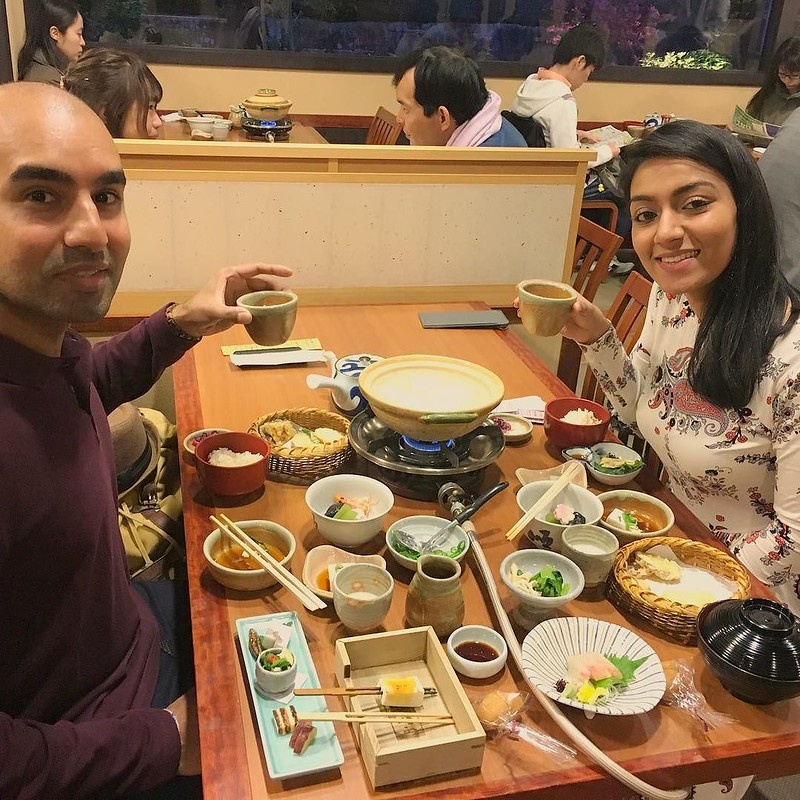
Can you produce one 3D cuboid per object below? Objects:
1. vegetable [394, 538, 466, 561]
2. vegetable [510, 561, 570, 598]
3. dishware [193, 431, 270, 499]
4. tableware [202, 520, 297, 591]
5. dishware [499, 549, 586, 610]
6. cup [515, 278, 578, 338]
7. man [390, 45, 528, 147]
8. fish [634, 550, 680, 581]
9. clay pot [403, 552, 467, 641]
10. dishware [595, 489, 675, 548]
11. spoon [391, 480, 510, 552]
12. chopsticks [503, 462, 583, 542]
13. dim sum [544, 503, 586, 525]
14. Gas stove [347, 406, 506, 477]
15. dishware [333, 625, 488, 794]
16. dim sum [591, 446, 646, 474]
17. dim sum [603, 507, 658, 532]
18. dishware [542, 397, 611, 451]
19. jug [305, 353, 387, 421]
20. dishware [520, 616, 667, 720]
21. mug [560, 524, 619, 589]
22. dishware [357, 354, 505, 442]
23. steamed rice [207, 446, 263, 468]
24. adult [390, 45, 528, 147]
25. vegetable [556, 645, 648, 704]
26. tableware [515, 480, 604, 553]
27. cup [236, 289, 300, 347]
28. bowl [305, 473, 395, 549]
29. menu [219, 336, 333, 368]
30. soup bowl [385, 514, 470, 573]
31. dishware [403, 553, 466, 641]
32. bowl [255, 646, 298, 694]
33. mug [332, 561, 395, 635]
[{"bbox_3d":[0.052,0.308,1.300,0.113,0.019,0.061,4,13,-11],"label":"vegetable"},{"bbox_3d":[0.264,0.340,1.181,0.067,0.025,0.063,9,17,5],"label":"vegetable"},{"bbox_3d":[-0.387,0.153,1.498,0.169,0.094,0.155,17,18,21],"label":"dishware"},{"bbox_3d":[-0.306,0.313,1.252,0.154,0.054,0.141,-12,37,-27],"label":"tableware"},{"bbox_3d":[0.272,0.349,1.188,0.143,0.057,0.140,-7,27,-18],"label":"dishware"},{"bbox_3d":[0.381,-0.250,1.707,0.173,0.115,0.158,3,37,-2],"label":"cup"},{"bbox_3d":[0.251,-1.565,3.265,0.839,0.396,0.574,2,40,-8],"label":"man"},{"bbox_3d":[0.524,0.344,1.286,0.075,0.023,0.055,22,42,10],"label":"fish"},{"bbox_3d":[0.064,0.353,1.166,0.121,0.136,0.147,0,26,-5],"label":"clay pot"},{"bbox_3d":[0.528,0.267,1.420,0.136,0.050,0.127,-1,26,-5],"label":"dishware"},{"bbox_3d":[0.140,0.267,1.394,0.334,0.061,0.097,-26,28,-32],"label":"spoon"},{"bbox_3d":[0.331,0.239,1.434,0.248,0.037,0.021,-38,-3,-28],"label":"chopsticks"},{"bbox_3d":[0.367,0.253,1.386,0.051,0.019,0.049,4,15,6],"label":"dim sum"},{"bbox_3d":[0.064,0.099,1.627,0.413,0.058,0.396,-6,21,-35],"label":"Gas stove"},{"bbox_3d":[0.010,0.460,0.958,0.174,0.090,0.226,-7,24,-17],"label":"dishware"},{"bbox_3d":[0.542,0.156,1.607,0.093,0.027,0.087,0,24,-2],"label":"dim sum"},{"bbox_3d":[0.519,0.255,1.397,0.073,0.017,0.068,2,14,0],"label":"dim sum"},{"bbox_3d":[0.502,0.079,1.751,0.155,0.087,0.148,-22,31,-31],"label":"dishware"},{"bbox_3d":[-0.158,-0.049,1.922,0.157,0.107,0.274,18,21,22],"label":"jug"},{"bbox_3d":[0.316,0.415,1.022,0.167,0.058,0.162,-8,25,-34],"label":"dishware"},{"bbox_3d":[0.385,0.328,1.262,0.106,0.075,0.096,15,6,0],"label":"mug"},{"bbox_3d":[0.076,-0.001,1.597,0.362,0.115,0.342,-8,30,-22],"label":"dishware"},{"bbox_3d":[-0.402,0.138,1.499,0.079,0.014,0.059,5,10,7],"label":"steamed rice"},{"bbox_3d":[0.211,-1.496,3.317,0.839,0.396,0.574,2,40,-8],"label":"adult"},{"bbox_3d":[0.323,0.440,1.001,0.093,0.025,0.068,-7,2,0],"label":"vegetable"},{"bbox_3d":[0.356,0.271,1.432,0.159,0.083,0.148,-9,34,-20],"label":"tableware"},{"bbox_3d":[-0.340,-0.196,1.595,0.141,0.092,0.134,-2,14,0],"label":"cup"},{"bbox_3d":[-0.095,0.224,1.374,0.169,0.159,0.081,7,-7,20],"label":"bowl"},{"bbox_3d":[-0.425,-0.159,2.169,0.230,0.029,0.173,-6,25,-13],"label":"menu"},{"bbox_3d":[0.050,0.304,1.338,0.130,0.042,0.121,3,26,-1],"label":"soup bowl"},{"bbox_3d":[0.072,0.352,1.153,0.106,0.123,0.135,10,21,24],"label":"dishware"},{"bbox_3d":[-0.197,0.430,0.990,0.063,0.051,0.063,2,24,-1],"label":"bowl"},{"bbox_3d":[-0.066,0.347,1.117,0.122,0.090,0.118,1,26,-3],"label":"mug"}]
